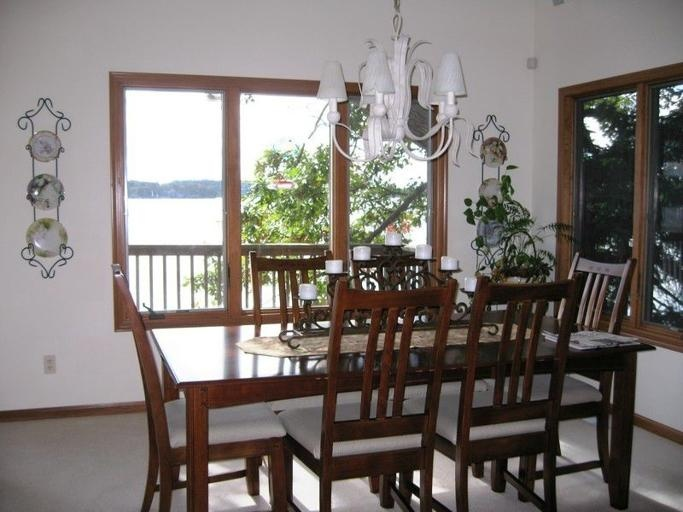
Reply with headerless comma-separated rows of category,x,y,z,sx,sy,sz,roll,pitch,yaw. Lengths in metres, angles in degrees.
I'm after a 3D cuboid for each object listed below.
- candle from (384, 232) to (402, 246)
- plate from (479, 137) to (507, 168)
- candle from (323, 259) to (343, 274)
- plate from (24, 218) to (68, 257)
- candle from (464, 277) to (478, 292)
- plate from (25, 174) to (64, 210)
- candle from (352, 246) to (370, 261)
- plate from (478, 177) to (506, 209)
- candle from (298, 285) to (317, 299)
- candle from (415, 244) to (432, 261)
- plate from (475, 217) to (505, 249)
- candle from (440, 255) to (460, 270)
candle,0.304,-0.102,3.372,0.072,0.061,0.076,-2,7,-17
plate,1.316,-0.900,5.087,0.208,0.260,0.050,4,0,-14
candle,-0.040,0.051,3.160,0.071,0.059,0.076,1,1,1
plate,-2.198,-0.140,4.395,0.273,0.295,0.048,-3,7,-5
candle,0.727,0.157,3.322,0.099,0.107,0.092,0,-3,32
plate,-2.195,-0.482,4.370,0.230,0.266,0.057,7,-2,-14
candle,0.115,-0.015,3.402,0.078,0.066,0.083,1,8,0
plate,1.296,-0.562,5.082,0.177,0.245,0.203,2,8,32
candle,-0.181,0.190,3.081,0.075,0.061,0.076,3,-2,-34
candle,0.483,-0.023,3.470,0.083,0.070,0.087,0,-1,27
plate,1.285,-0.213,5.103,0.218,0.293,0.233,-3,7,-16
candle,0.663,0.039,3.627,0.111,0.093,0.119,-2,0,3
